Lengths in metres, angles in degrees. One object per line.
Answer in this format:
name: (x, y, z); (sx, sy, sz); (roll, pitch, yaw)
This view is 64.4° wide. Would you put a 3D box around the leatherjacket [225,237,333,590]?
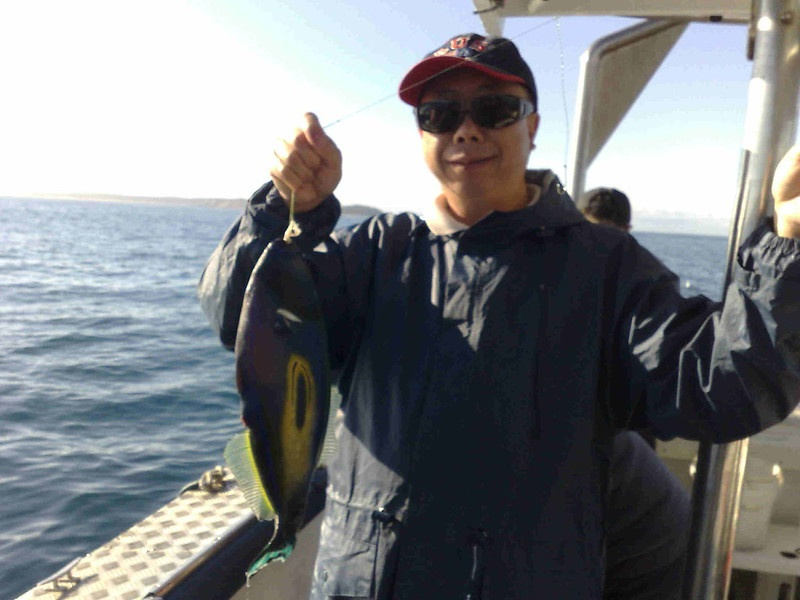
leatherjacket: (-0.467, 0.347, 2.444); (0.551, 1.519, 0.268); (0, 1, -25)
